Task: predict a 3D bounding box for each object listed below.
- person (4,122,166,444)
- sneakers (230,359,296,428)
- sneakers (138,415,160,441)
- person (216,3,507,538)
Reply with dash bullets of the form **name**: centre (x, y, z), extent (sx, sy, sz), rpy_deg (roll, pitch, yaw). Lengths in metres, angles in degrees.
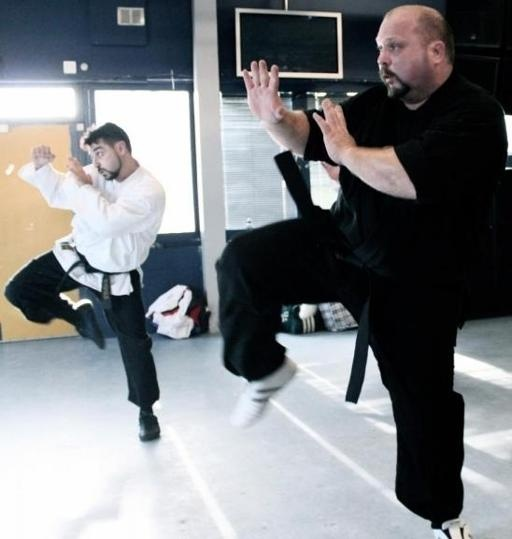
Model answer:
- **person**: centre (-0.815, 0.048, 2.676), extent (0.664, 1.595, 0.415), rpy_deg (-1, 3, 11)
- **sneakers**: centre (0.016, 0.359, 1.565), extent (0.119, 0.286, 0.109), rpy_deg (27, 41, -9)
- **sneakers**: centre (-0.534, 0.790, 2.611), extent (0.086, 0.122, 0.065), rpy_deg (-2, -21, -22)
- **person**: centre (0.288, 0.029, 1.531), extent (0.770, 1.534, 0.450), rpy_deg (-1, 3, -4)
